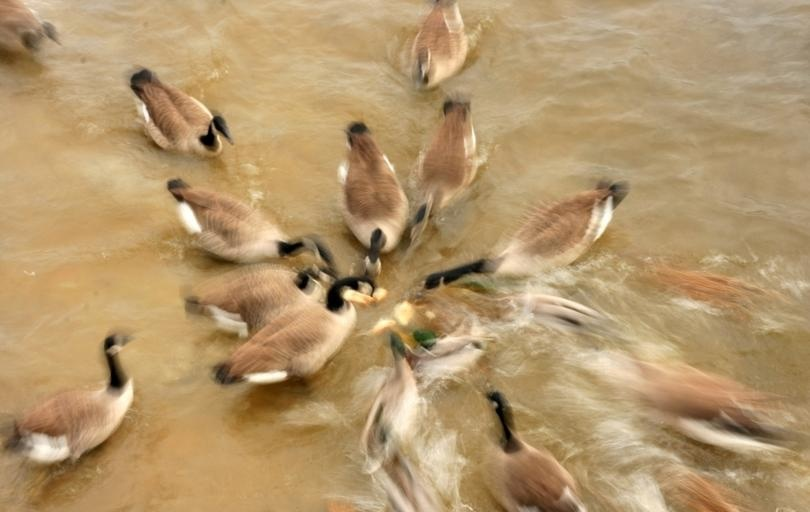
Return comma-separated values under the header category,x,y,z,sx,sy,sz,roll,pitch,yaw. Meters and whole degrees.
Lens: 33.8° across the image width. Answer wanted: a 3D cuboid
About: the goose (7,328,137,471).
category,x,y,z,sx,sy,sz,roll,pitch,yaw
goose,-3.929,1.493,15.715,1.693,1.492,1.011,-18,43,-30
